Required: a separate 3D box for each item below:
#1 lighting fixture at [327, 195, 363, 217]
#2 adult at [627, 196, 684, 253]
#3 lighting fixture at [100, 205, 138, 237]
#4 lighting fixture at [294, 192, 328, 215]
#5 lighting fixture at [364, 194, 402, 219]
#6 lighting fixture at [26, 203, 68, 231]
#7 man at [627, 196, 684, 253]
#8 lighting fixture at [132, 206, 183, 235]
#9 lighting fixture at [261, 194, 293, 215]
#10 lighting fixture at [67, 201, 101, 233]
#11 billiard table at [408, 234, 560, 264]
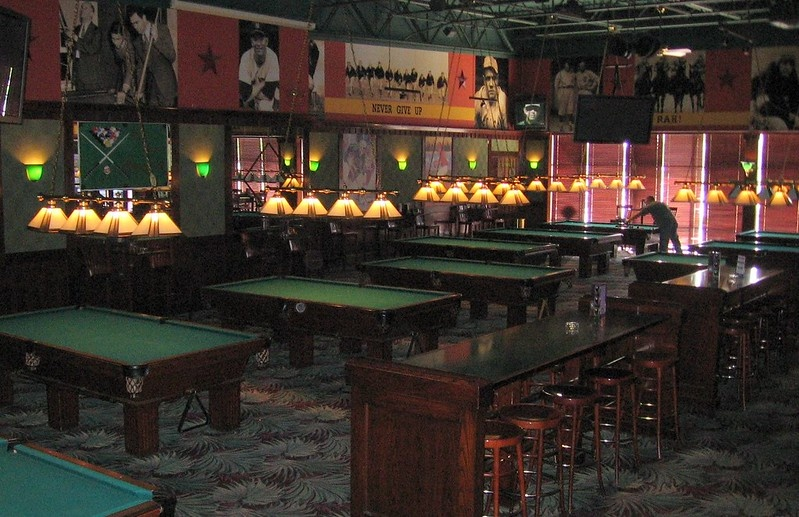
[{"bbox_3d":[-0.714,-0.659,9.149,0.316,0.190,0.323,4,7,39],"label":"lighting fixture"},{"bbox_3d":[5.406,-0.649,15.291,0.726,1.205,0.815,16,-19,-18],"label":"adult"},{"bbox_3d":[-2.984,-0.412,7.872,0.345,0.205,0.336,0,5,-9],"label":"lighting fixture"},{"bbox_3d":[-1.090,-0.722,9.370,0.311,0.179,0.319,1,7,13],"label":"lighting fixture"},{"bbox_3d":[-0.210,-0.672,9.237,0.450,0.319,0.512,0,0,-6],"label":"lighting fixture"},{"bbox_3d":[-3.962,-0.513,8.446,0.372,0.248,0.376,2,3,-5],"label":"lighting fixture"},{"bbox_3d":[5.287,-0.787,15.367,0.872,1.320,0.807,-1,34,29],"label":"man"},{"bbox_3d":[-2.624,-0.447,7.962,0.367,0.217,0.354,-3,6,-29],"label":"lighting fixture"},{"bbox_3d":[-1.588,-0.693,9.706,0.337,0.203,0.342,5,7,30],"label":"lighting fixture"},{"bbox_3d":[-3.485,-0.496,8.215,0.479,0.340,0.465,0,15,-17],"label":"lighting fixture"},{"bbox_3d":[1.387,-0.182,13.345,1.874,0.309,1.022,2,7,34],"label":"billiard table"}]
